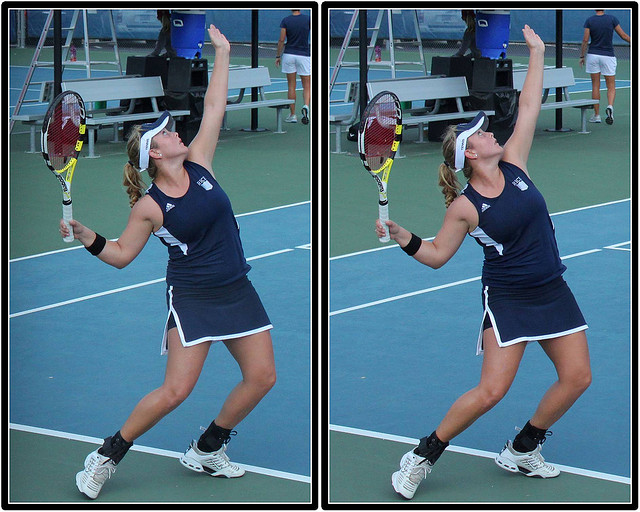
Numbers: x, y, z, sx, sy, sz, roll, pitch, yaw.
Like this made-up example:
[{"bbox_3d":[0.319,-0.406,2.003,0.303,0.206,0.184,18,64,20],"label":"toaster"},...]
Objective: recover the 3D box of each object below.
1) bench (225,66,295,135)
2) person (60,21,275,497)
[{"bbox_3d":[-1.959,-3.857,13.141,1.237,1.630,2.696,21,29,33],"label":"bench"},{"bbox_3d":[-0.762,0.160,2.681,0.901,2.141,0.646,-4,10,-25],"label":"person"}]
